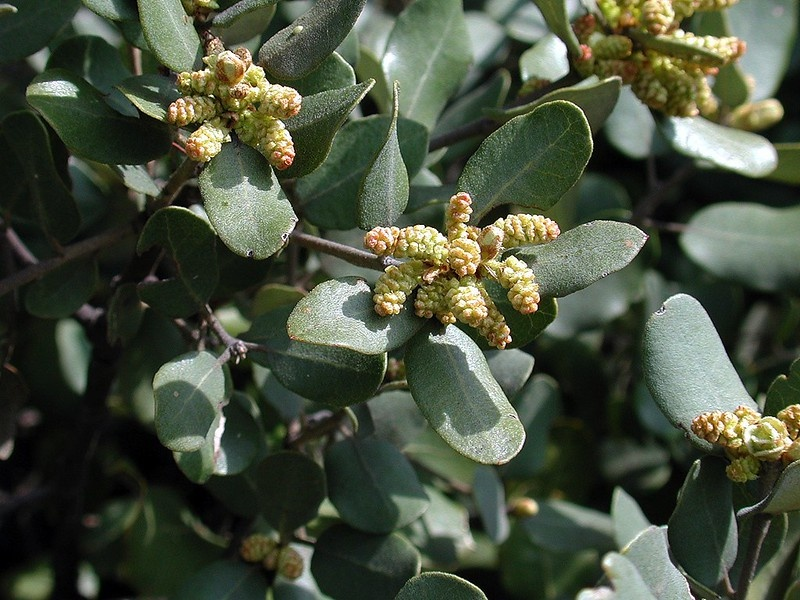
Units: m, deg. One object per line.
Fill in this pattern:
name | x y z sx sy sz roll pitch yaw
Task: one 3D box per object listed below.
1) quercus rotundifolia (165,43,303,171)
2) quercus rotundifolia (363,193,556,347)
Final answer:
quercus rotundifolia | -0.230 -0.268 1.087 0.183 0.149 0.181 -8 50 -5
quercus rotundifolia | 0.085 -0.033 1.105 0.259 0.202 0.220 11 51 11
